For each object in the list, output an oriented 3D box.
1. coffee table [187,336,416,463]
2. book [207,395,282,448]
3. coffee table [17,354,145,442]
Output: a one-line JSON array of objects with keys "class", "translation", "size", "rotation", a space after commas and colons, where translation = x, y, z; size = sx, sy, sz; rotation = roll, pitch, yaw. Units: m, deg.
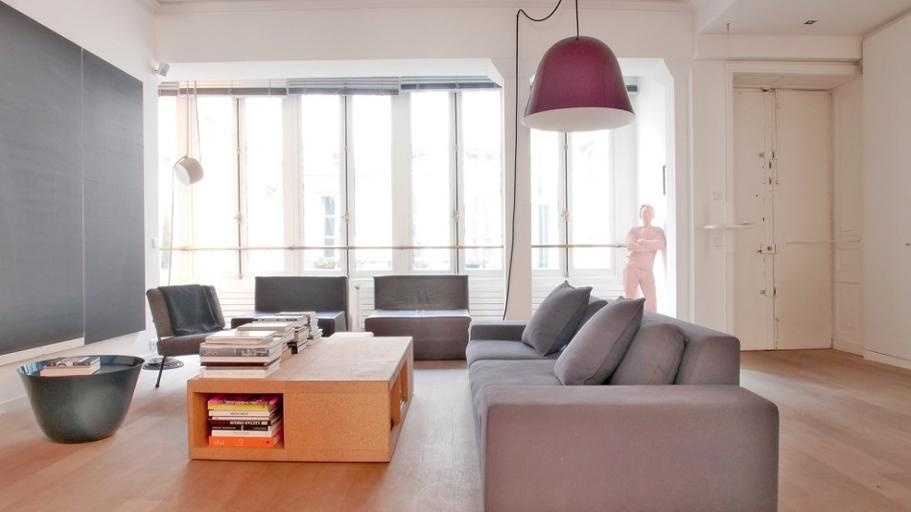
[{"class": "coffee table", "translation": [-1.418, 1.585, 6.714], "size": [1.364, 0.541, 1.776], "rotation": [1, -2, 3]}, {"class": "book", "translation": [-2.230, 1.728, 6.539], "size": [0.635, 0.344, 0.592], "rotation": [2, -4, -4]}, {"class": "coffee table", "translation": [-4.151, 1.525, 6.963], "size": [1.090, 0.625, 1.071], "rotation": [0, -5, -2]}]
